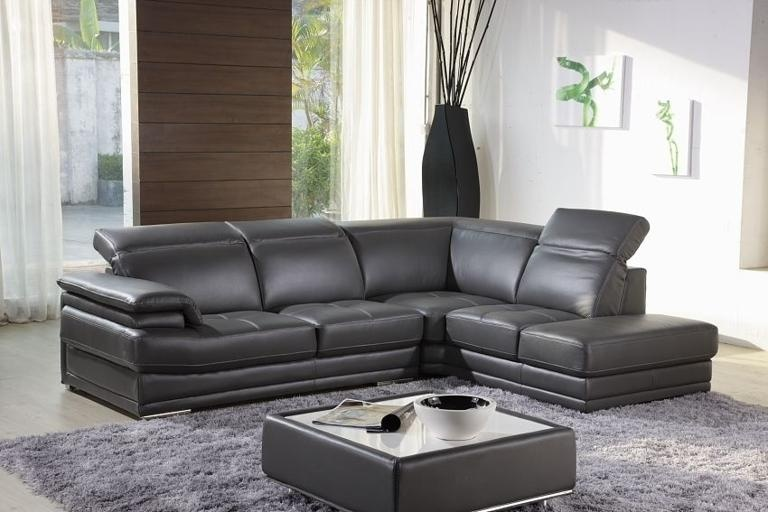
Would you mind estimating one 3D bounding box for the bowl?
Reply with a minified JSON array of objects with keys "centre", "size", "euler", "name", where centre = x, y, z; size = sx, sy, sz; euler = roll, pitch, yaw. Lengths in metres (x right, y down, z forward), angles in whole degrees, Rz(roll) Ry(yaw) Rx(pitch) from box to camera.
[{"centre":[0.295,0.680,2.646],"size":[0.295,0.115,0.292],"euler":[19,-2,1],"name":"bowl"}]
